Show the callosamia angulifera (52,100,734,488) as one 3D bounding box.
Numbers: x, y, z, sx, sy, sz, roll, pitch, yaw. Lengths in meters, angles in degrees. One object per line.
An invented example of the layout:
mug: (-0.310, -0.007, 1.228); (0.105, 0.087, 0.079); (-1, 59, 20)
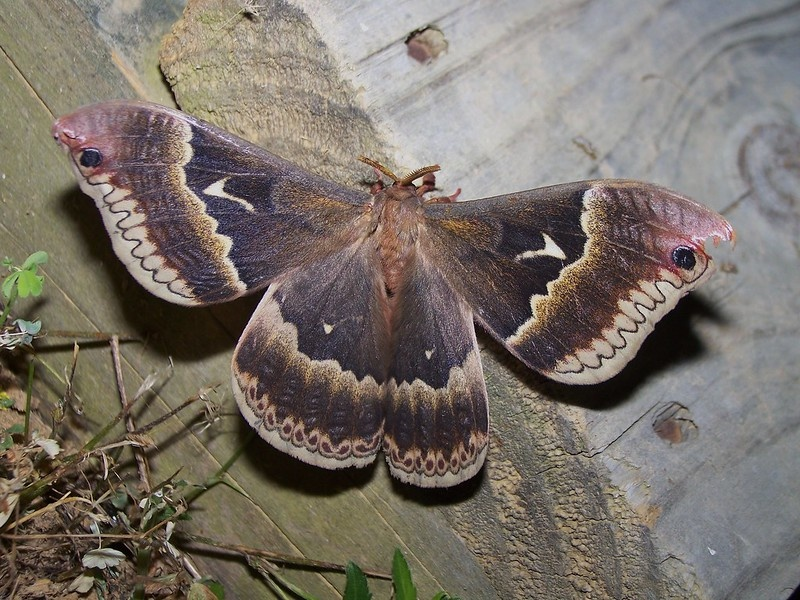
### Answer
callosamia angulifera: (-0.074, -0.026, 3.525); (2.310, 1.266, 0.636); (13, 12, 4)
